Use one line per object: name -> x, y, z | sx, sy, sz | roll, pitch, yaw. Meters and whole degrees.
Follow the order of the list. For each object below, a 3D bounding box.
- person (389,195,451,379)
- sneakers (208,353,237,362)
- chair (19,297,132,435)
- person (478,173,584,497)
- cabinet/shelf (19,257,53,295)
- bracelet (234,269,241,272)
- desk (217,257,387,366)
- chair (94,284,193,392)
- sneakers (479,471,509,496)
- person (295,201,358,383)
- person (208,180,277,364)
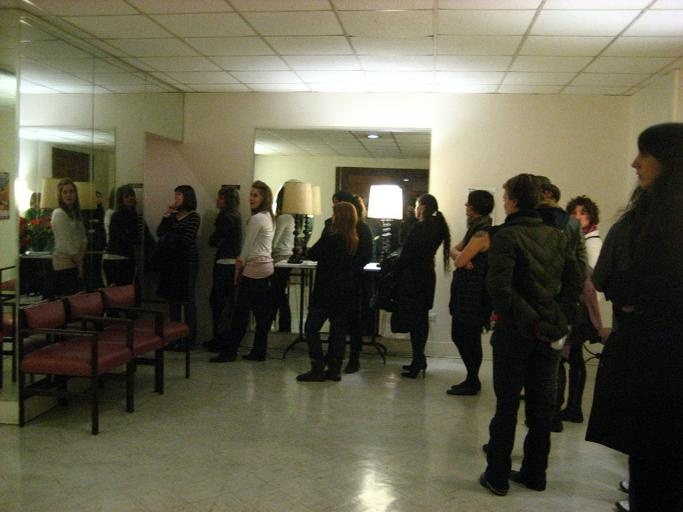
person -> 0.784, 0.311, 5.686 | 0.334, 1.843, 0.581 | 8, 10, 36
sneakers -> -1.265, 1.073, 6.069 | 0.219, 0.083, 0.111 | 6, -4, -3
chair -> -2.181, 0.856, 4.919 | 0.993, 1.224, 1.009 | 1, 2, 8
person -> 1.182, 0.499, 3.608 | 0.515, 2.015, 0.432 | 6, 9, 27
cabinet/shelf -> -2.381, 0.156, 4.507 | 0.276, 0.272, 0.260 | 0, -1, -2
bracelet -> -1.105, 0.153, 6.165 | 0.042, 0.035, 0.010 | 5, -2, 16
desk -> -0.034, 0.642, 6.637 | 1.617, 1.010, 0.796 | 6, 0, -12
chair -> -1.847, 0.698, 5.270 | 0.838, 0.744, 0.824 | 4, 0, 28
sneakers -> 0.981, 1.451, 3.672 | 0.081, 0.088, 0.206 | 0, 8, -13
person -> -0.130, 0.353, 5.444 | 0.513, 1.722, 0.155 | 2, 8, -1
person -> -1.008, 0.162, 6.126 | 0.634, 1.927, 0.414 | -1, 9, -16
